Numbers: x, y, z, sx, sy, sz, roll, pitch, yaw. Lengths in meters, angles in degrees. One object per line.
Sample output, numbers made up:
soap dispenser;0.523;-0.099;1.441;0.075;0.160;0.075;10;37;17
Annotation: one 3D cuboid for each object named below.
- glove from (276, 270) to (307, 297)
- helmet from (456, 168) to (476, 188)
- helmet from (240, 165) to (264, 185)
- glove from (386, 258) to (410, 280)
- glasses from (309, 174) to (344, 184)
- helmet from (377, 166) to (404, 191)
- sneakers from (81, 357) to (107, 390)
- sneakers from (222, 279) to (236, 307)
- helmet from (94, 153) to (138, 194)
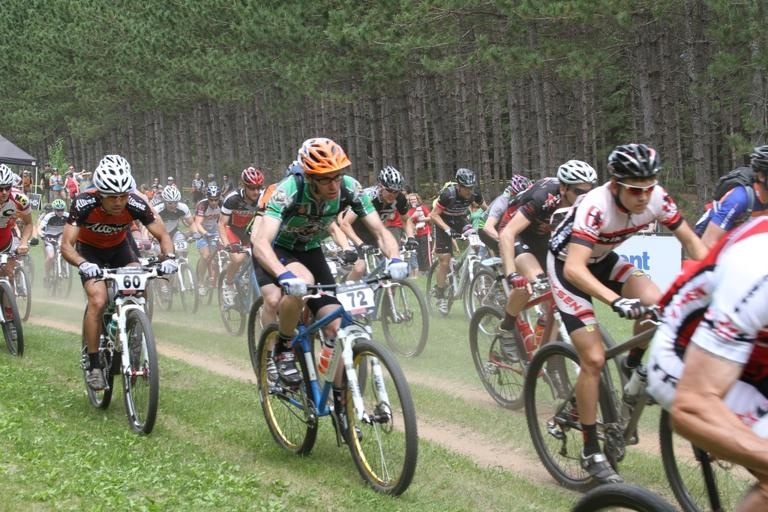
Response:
glove;-0.928;0.265;7.320;0.192;0.119;0.298;40;-13;-28
helmet;1.451;-1.466;13.552;0.282;0.179;0.408;-3;29;-24
helmet;-2.388;-1.400;13.093;0.321;0.175;0.474;-3;37;-24
glove;0.141;0.147;7.585;0.243;0.237;0.335;2;8;1
glasses;-0.630;-0.805;7.627;0.349;0.127;0.202;1;9;-3
helmet;0.074;-1.255;11.832;0.275;0.230;0.479;4;12;-17
sneakers;-3.668;1.477;9.340;0.222;0.245;0.539;-11;44;-32
sneakers;-2.932;0.728;13.883;0.190;0.619;0.227;-4;7;-7
helmet;-3.333;-1.037;9.061;0.370;0.594;0.202;0;-12;-23
